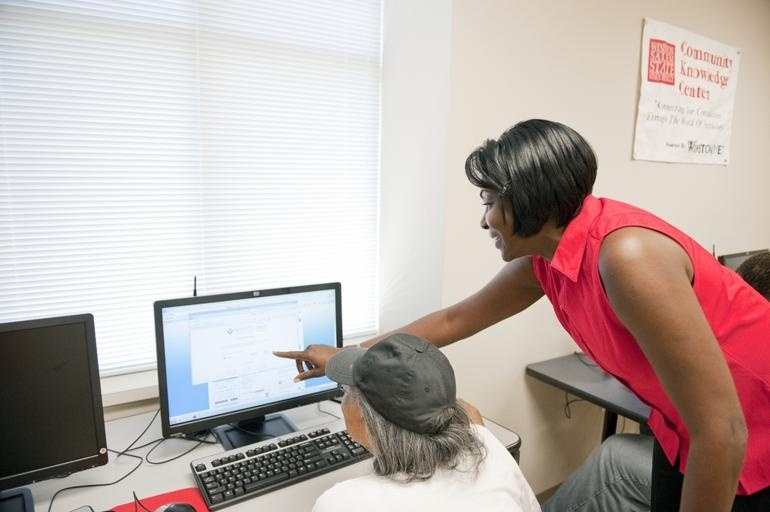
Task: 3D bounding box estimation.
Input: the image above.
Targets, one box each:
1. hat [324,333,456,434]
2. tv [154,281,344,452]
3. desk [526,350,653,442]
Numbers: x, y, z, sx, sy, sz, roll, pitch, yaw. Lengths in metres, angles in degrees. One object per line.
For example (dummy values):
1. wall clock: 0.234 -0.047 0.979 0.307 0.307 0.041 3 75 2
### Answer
1. hat: 0.030 0.364 1.585 0.408 0.241 0.280 21 18 33
2. tv: -0.539 0.462 2.127 0.812 0.654 0.234 -4 7 -38
3. desk: 1.046 0.651 2.548 0.487 0.317 0.466 -7 17 -35
